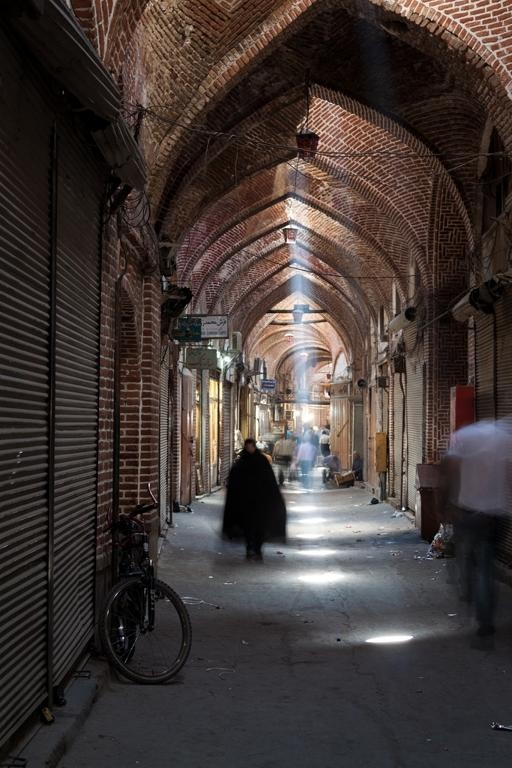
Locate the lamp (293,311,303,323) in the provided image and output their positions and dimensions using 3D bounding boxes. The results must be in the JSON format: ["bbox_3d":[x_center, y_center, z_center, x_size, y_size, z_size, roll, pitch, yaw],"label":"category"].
[{"bbox_3d":[2.205,-3.589,32.628,0.524,0.508,0.564,-2,-22,7],"label":"lamp"}]

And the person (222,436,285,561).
[{"bbox_3d":[-0.028,1.740,9.289,0.951,1.744,0.456,2,-8,-5],"label":"person"}]

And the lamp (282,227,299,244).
[{"bbox_3d":[1.184,-5.077,20.842,0.449,0.501,0.420,0,-18,-1],"label":"lamp"}]
